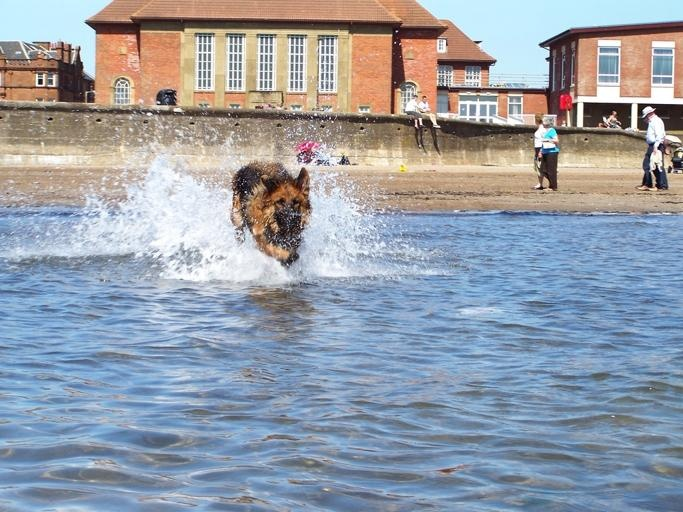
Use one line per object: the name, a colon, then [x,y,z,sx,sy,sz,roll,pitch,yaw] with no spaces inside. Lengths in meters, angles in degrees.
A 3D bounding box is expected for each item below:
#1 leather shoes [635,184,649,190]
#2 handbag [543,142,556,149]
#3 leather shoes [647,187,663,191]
leather shoes: [7.462,-1.720,28.244,0.353,0.119,0.122,8,11,18]
handbag: [4.815,-2.571,26.493,0.311,0.195,0.338,3,13,11]
leather shoes: [7.803,-1.671,28.199,0.379,0.133,0.129,-1,3,44]
